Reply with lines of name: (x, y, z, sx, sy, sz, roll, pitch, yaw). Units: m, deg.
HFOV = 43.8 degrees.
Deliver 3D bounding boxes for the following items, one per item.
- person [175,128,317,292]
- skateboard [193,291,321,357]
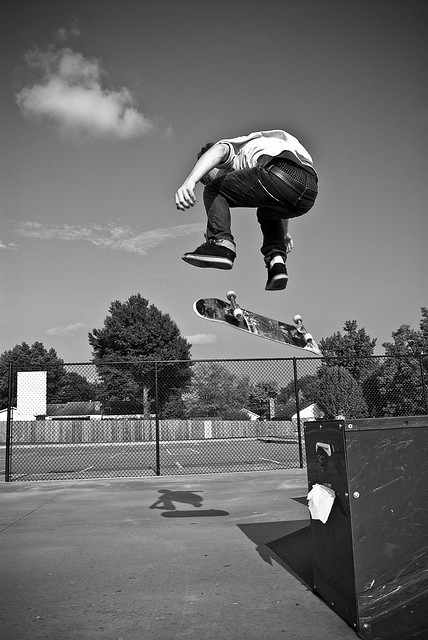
person: (0.234, -0.800, 3.537, 0.839, 1.183, 0.793, 3, -27, -2)
skateboard: (0.265, 0.019, 3.688, 0.792, 0.222, 0.112, 21, -54, -19)
